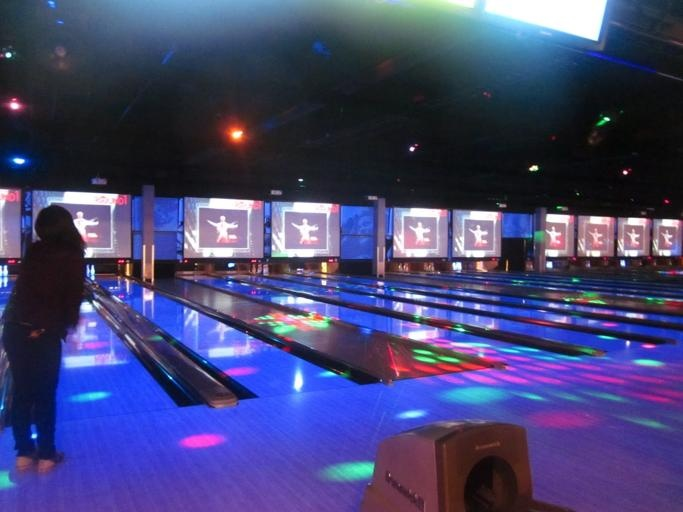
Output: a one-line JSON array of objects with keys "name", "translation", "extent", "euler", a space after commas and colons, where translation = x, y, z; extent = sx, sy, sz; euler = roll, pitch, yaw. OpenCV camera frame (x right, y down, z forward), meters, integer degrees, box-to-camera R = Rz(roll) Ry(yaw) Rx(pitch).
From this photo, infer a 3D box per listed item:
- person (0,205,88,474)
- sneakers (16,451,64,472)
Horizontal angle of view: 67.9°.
[{"name": "person", "translation": [-1.548, 0.408, 2.665], "extent": [0.407, 1.330, 0.371], "euler": [-4, 9, -28]}, {"name": "sneakers", "translation": [-1.547, 1.066, 2.622], "extent": [0.081, 0.091, 0.215], "euler": [0, -1, 29]}]
